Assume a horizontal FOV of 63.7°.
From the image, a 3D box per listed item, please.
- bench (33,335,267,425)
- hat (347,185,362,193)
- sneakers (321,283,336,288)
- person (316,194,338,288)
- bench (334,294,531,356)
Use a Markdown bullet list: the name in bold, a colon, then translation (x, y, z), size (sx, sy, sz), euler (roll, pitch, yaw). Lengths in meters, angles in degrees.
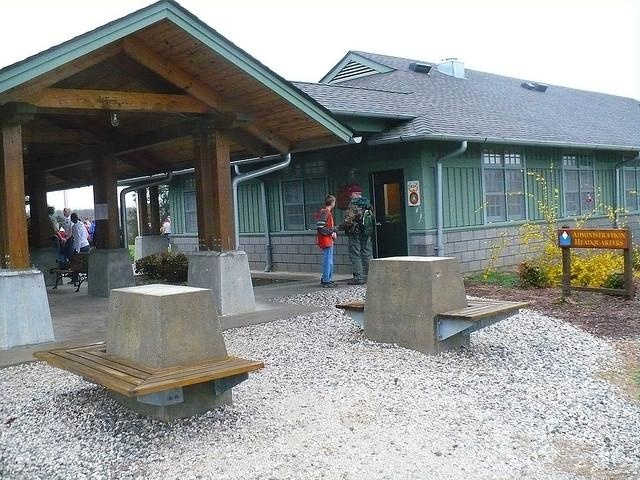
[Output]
- **bench**: translation (-1.533, 1.301, 4.556), size (1.974, 0.577, 1.135), euler (5, 7, 28)
- **hat**: translation (0.888, -1.261, 12.851), size (0.203, 0.168, 0.262), euler (3, 0, -34)
- **sneakers**: translation (0.216, 1.014, 11.379), size (0.312, 0.141, 0.106), euler (-4, 0, 6)
- **person**: translation (0.151, 0.032, 11.518), size (0.411, 2.014, 0.562), euler (1, 6, 0)
- **bench**: translation (1.494, 1.069, 7.015), size (2.352, 0.633, 1.322), euler (7, 8, 40)
